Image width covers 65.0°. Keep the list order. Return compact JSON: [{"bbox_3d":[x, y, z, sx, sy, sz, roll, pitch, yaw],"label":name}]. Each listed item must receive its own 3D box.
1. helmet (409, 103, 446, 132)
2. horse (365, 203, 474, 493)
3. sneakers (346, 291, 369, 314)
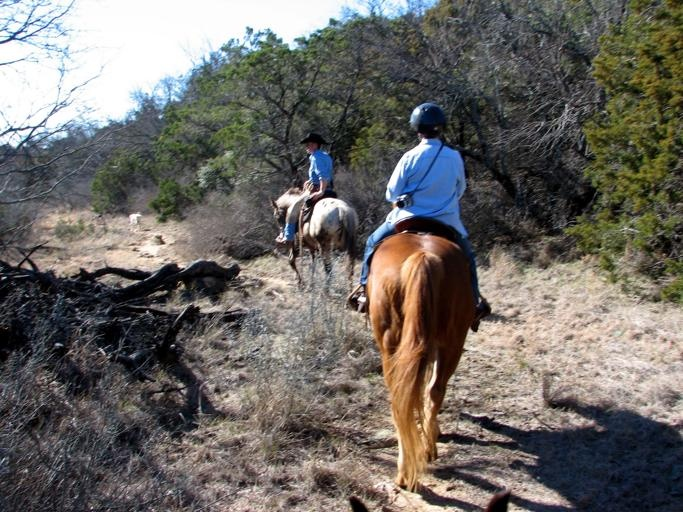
[{"bbox_3d":[0.983,-1.603,6.153,0.332,0.279,0.387,-5,29,-18],"label":"helmet"},{"bbox_3d":[0.801,0.899,5.366,0.770,2.692,0.882,-6,-4,45],"label":"horse"},{"bbox_3d":[0.216,0.564,6.458,0.144,0.207,0.430,4,-4,-4],"label":"sneakers"}]
